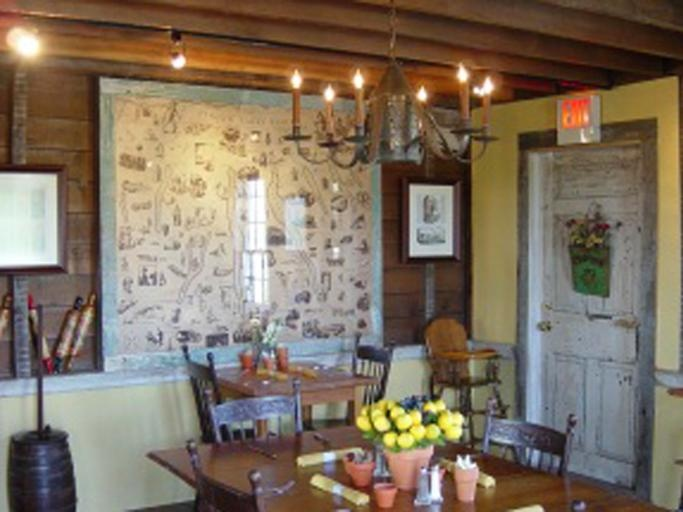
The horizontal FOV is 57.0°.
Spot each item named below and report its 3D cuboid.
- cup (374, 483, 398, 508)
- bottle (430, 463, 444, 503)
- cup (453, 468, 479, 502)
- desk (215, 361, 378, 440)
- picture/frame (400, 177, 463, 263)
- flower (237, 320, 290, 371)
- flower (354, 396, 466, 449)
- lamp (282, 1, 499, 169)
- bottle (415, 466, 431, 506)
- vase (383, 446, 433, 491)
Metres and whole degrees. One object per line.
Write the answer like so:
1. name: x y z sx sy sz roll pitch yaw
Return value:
1. cup: 0.189 0.999 2.654 0.082 0.065 0.083 -2 -6 0
2. bottle: 0.421 0.968 2.776 0.060 0.149 0.239 -1 5 8
3. cup: 0.532 0.969 2.709 0.121 0.138 0.121 0 -6 0
4. desk: -0.311 0.932 4.594 0.635 0.423 0.660 1 0 -33
5. picture/frame: 0.799 -0.336 5.768 0.757 0.950 0.074 0 1 -23
6. flower: -0.604 0.721 5.102 0.389 0.534 0.369 1 -3 2
7. flower: 0.296 0.731 2.762 0.261 0.136 0.360 6 5 32
8. lamp: 0.259 -1.179 4.180 0.953 1.133 1.107 0 1 31
9. bottle: 0.348 0.964 2.714 0.071 0.145 0.169 -2 5 7
10. vase: 0.297 0.953 2.864 0.216 0.183 0.222 4 -11 -4
